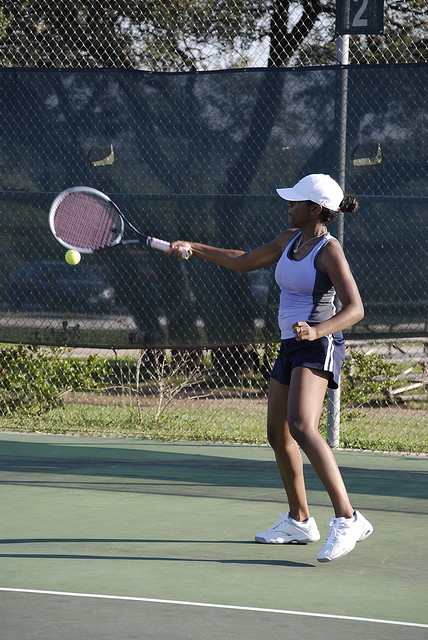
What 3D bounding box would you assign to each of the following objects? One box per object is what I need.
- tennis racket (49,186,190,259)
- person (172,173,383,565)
[{"bbox_3d":[-0.704,-0.577,4.531,0.677,0.418,0.356,1,-1,42],"label":"tennis racket"},{"bbox_3d":[0.376,0.190,3.409,0.838,1.384,1.707,2,0,-2],"label":"person"}]
